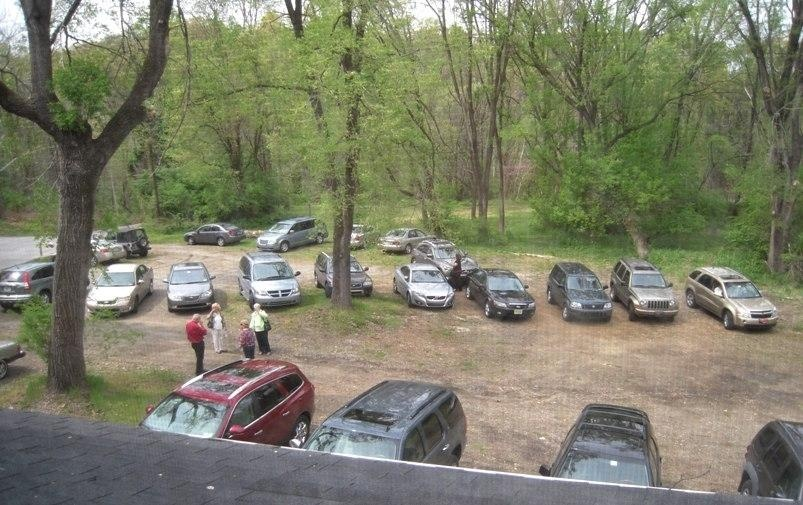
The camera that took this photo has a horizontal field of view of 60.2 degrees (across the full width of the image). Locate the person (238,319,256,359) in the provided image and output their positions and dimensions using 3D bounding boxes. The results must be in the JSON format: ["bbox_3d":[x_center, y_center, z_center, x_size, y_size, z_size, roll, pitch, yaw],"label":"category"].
[{"bbox_3d":[-6.285,3.576,28.337,0.575,1.682,1.048,-7,9,-13],"label":"person"}]
